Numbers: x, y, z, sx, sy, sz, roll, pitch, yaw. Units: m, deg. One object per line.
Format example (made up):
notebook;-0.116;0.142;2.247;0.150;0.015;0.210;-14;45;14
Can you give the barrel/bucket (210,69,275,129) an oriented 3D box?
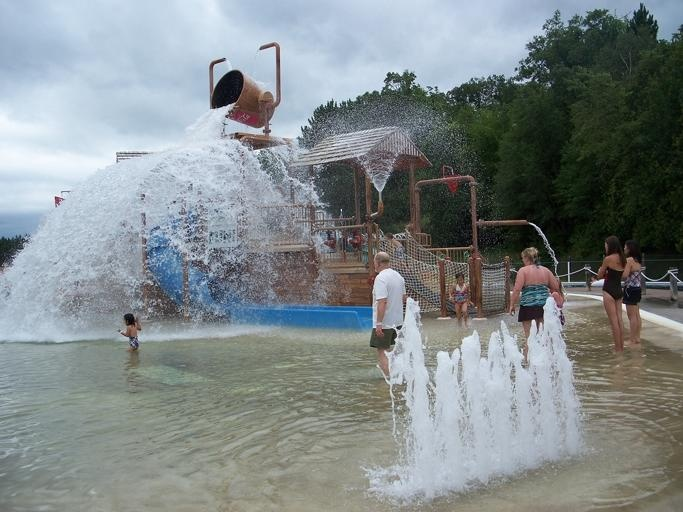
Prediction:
barrel/bucket;-2.938;-4.786;17.186;1.781;1.735;0.980;-2;3;-9

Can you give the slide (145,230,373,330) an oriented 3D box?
slide;-1.415;0.610;16.302;8.076;3.628;2.507;-2;-1;17

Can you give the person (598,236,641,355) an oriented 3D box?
person;4.683;0.654;9.784;0.649;1.978;0.287;-2;3;-11

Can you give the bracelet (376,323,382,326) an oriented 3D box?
bracelet;0.526;0.931;7.740;0.042;0.028;0.050;-1;-4;26

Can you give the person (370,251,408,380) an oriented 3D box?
person;0.638;0.852;7.875;0.411;1.799;0.581;1;4;34

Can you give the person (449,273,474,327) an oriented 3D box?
person;2.986;1.056;14.118;0.436;1.249;1.882;-1;4;13
